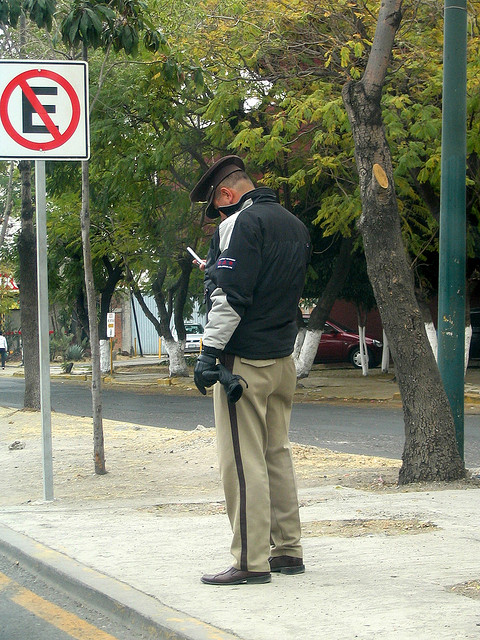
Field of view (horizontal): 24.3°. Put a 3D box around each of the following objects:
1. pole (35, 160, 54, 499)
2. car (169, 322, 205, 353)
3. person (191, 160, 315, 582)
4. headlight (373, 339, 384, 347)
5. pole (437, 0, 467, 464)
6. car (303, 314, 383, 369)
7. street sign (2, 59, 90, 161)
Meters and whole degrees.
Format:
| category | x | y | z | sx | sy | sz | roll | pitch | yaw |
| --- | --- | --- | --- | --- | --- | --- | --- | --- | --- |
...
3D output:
| category | x | y | z | sx | sy | sz | roll | pitch | yaw |
| --- | --- | --- | --- | --- | --- | --- | --- | --- | --- |
| pole | -1.502 | 0.057 | 8.522 | 0.102 | 2.631 | 0.625 | -1 | 2 | -10 |
| car | -2.030 | 0.567 | 44.946 | 1.332 | 1.398 | 2.546 | 0 | -5 | -11 |
| person | 0.082 | 0.240 | 5.688 | 0.518 | 2.176 | 0.488 | 0 | 2 | 1 |
| headlight | 3.748 | 0.580 | 30.219 | 0.258 | 0.105 | 0.183 | 29 | -15 | -34 |
| pole | 1.774 | -0.823 | 9.332 | 0.240 | 3.809 | 0.472 | 0 | 2 | 10 |
| car | 2.787 | 0.603 | 30.262 | 2.321 | 1.277 | 1.237 | -1 | 1 | 3 |
| street sign | -1.493 | -1.599 | 8.373 | 0.744 | 0.796 | 0.053 | -2 | -3 | -30 |
